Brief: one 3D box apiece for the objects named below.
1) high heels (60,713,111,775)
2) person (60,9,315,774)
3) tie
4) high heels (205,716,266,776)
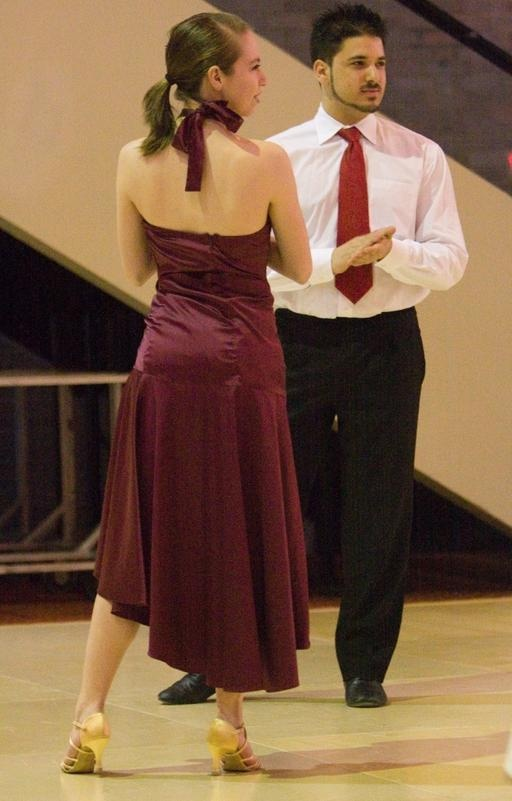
[{"bbox_3d":[-0.299,0.596,1.612,0.067,0.097,0.115,13,-24,-40],"label":"high heels"},{"bbox_3d":[-0.078,-0.008,1.629,0.406,1.325,0.281,4,-4,2],"label":"person"},{"bbox_3d":[0.232,-0.440,2.172,0.101,0.436,0.078,5,-4,2],"label":"tie"},{"bbox_3d":[-0.043,0.612,1.639,0.071,0.080,0.125,-18,-27,30],"label":"high heels"}]
